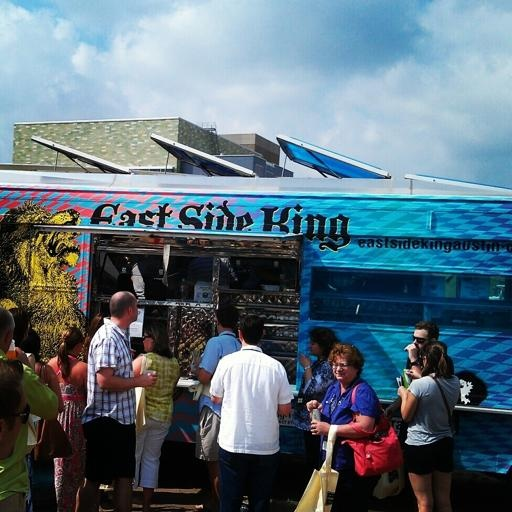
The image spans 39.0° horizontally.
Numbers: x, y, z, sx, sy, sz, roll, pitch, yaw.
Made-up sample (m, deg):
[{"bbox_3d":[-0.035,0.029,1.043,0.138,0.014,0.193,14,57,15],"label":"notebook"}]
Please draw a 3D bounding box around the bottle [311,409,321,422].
[{"bbox_3d":[0.430,1.129,5.131,0.080,0.108,0.071,1,-14,-1],"label":"bottle"}]

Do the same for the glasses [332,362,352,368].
[{"bbox_3d":[0.602,0.767,5.062,0.129,0.039,0.046,0,-3,13],"label":"glasses"}]

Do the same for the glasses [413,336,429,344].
[{"bbox_3d":[1.366,0.700,6.002,0.096,0.028,0.090,27,-22,-36],"label":"glasses"}]
